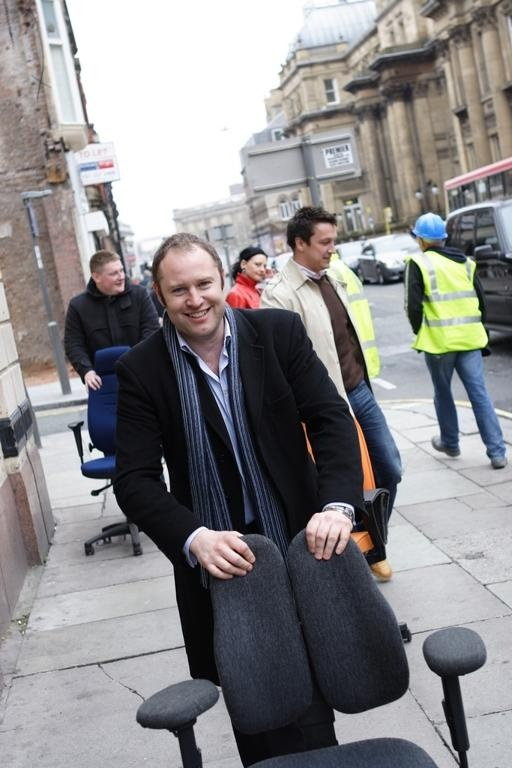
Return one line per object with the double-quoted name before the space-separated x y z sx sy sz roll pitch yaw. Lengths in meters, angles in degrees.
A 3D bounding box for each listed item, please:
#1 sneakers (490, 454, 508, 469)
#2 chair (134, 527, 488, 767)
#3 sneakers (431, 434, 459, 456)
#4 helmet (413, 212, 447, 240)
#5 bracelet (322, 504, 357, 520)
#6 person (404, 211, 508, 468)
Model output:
"sneakers" 2.203 0.690 5.554 0.188 0.114 0.113 -10 4 -15
"chair" 0.131 0.622 1.347 0.728 0.410 0.347 -9 4 5
"sneakers" 1.865 0.607 6.110 0.101 0.131 0.295 -4 23 -17
"helmet" 1.629 -1.494 5.871 0.259 0.206 0.321 0 18 -14
"bracelet" 0.207 0.295 1.471 0.043 0.026 0.054 11 6 -27
"person" 1.806 -0.425 5.780 0.722 2.415 0.612 -7 4 21
